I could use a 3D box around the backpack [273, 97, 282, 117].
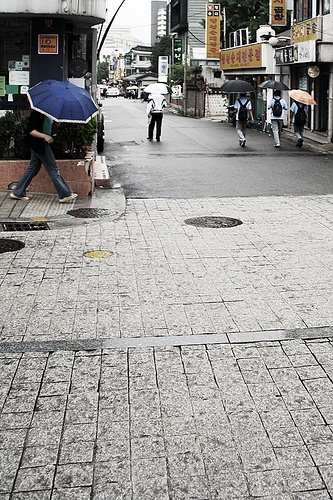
[{"bbox_3d":[5.371,-6.895,20.102,0.419,0.833,0.336,3,8,13],"label":"backpack"}]

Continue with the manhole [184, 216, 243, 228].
[{"bbox_3d":[0.930,-0.557,8.261,1.108,0.130,0.907,2,10,8],"label":"manhole"}]

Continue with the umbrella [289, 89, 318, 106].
[{"bbox_3d":[6.398,-7.254,19.647,1.109,0.666,0.660,-3,10,-22],"label":"umbrella"}]

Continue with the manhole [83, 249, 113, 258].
[{"bbox_3d":[-1.032,0.062,6.241,0.409,0.056,0.422,-7,13,-38],"label":"manhole"}]

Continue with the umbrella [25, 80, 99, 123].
[{"bbox_3d":[-2.078,-3.206,8.906,1.095,0.414,1.240,3,42,-15],"label":"umbrella"}]

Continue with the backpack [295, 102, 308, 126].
[{"bbox_3d":[6.589,-6.686,20.477,0.537,0.922,0.402,-1,8,-11],"label":"backpack"}]

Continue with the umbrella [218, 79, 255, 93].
[{"bbox_3d":[3.822,-8.664,21.998,1.168,0.540,1.184,-20,29,-36],"label":"umbrella"}]

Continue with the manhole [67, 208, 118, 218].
[{"bbox_3d":[-1.518,-0.763,8.555,1.005,0.134,0.778,-2,11,-16],"label":"manhole"}]

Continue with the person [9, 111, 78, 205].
[{"bbox_3d":[-2.613,-1.941,8.810,1.256,1.920,0.689,-1,8,-9],"label":"person"}]
